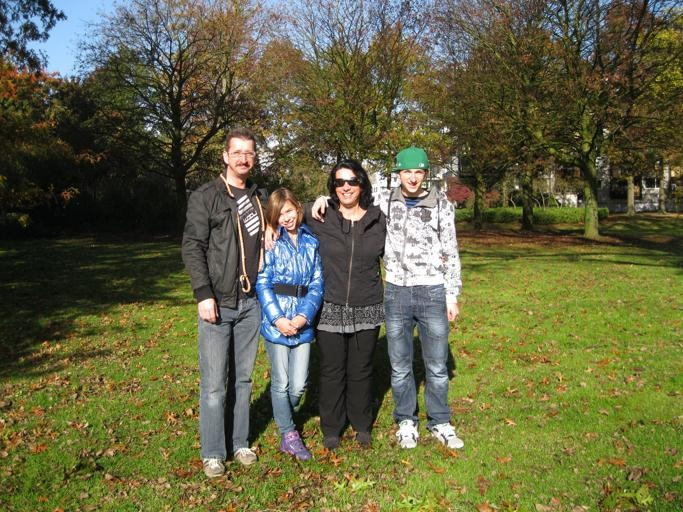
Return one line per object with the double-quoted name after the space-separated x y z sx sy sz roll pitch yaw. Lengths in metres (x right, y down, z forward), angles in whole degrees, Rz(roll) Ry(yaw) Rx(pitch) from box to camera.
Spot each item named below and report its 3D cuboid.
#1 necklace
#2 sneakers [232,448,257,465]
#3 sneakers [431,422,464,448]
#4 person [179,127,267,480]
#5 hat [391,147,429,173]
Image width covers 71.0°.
-1.011 -0.230 5.047 0.572 1.239 0.341 1 0 -11 "necklace"
-1.091 2.293 5.466 0.130 0.105 0.250 2 -5 -35 "sneakers"
1.289 2.177 5.756 0.173 0.163 0.383 -27 3 -16 "sneakers"
-1.264 0.524 5.264 0.885 3.797 0.502 -3 5 -23 "person"
0.820 -1.144 5.563 0.357 0.286 0.249 -1 6 3 "hat"
